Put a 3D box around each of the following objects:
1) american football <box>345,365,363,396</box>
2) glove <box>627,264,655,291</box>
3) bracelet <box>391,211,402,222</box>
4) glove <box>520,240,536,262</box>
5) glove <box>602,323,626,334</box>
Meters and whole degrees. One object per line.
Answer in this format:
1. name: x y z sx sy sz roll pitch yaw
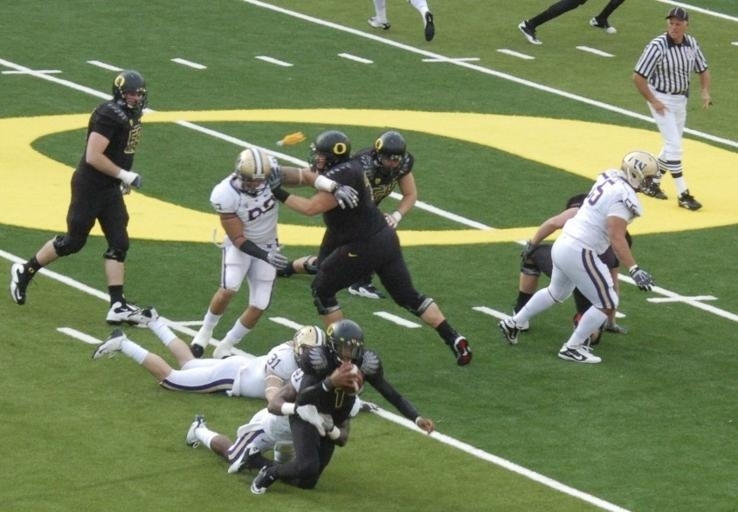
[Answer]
1. american football: -0.090 0.956 8.892 0.149 0.188 0.154 -13 9 -21
2. glove: 2.601 0.207 10.999 0.289 0.195 0.107 49 2 26
3. bracelet: 0.298 -0.411 11.808 0.132 0.091 0.104 -3 1 6
4. glove: 1.683 -0.044 11.851 0.089 0.186 0.150 29 16 -33
5. glove: 2.536 0.759 11.892 0.246 0.075 0.083 1 18 11
